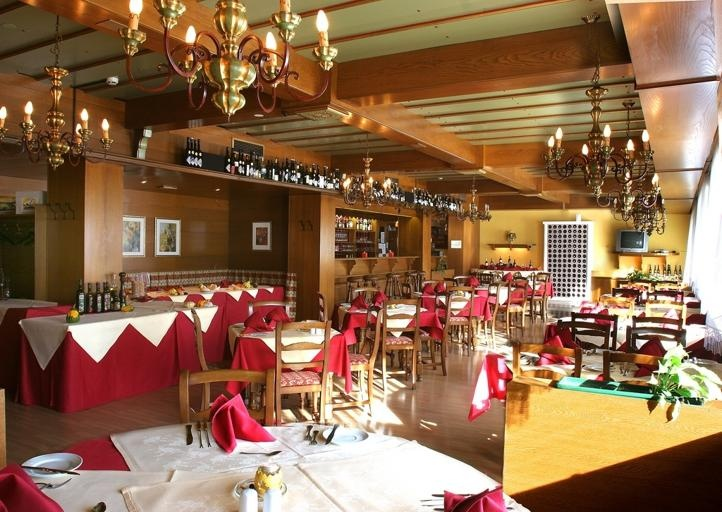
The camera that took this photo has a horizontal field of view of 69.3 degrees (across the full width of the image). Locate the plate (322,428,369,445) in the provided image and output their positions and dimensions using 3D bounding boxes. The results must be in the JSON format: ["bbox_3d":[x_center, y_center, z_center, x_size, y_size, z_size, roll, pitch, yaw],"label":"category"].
[{"bbox_3d":[-0.056,1.029,2.971,0.202,0.045,0.175,0,0,7],"label":"plate"}]

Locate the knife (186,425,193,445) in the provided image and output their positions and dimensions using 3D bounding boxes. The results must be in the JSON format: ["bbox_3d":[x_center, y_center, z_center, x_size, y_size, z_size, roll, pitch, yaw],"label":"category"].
[{"bbox_3d":[-0.969,1.017,2.966,0.029,0.007,0.197,3,5,-12],"label":"knife"}]

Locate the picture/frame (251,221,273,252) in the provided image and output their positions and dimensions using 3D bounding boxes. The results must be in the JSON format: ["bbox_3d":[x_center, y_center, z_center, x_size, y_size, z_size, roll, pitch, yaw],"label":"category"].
[{"bbox_3d":[-2.068,-0.428,11.112,0.624,0.803,0.066,-2,-4,25],"label":"picture/frame"}]

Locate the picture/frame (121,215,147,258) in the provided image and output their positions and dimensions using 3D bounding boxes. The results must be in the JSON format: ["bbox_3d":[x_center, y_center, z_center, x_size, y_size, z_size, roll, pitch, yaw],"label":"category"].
[{"bbox_3d":[-4.028,-0.351,9.292,0.060,0.818,0.779,1,-2,21],"label":"picture/frame"}]

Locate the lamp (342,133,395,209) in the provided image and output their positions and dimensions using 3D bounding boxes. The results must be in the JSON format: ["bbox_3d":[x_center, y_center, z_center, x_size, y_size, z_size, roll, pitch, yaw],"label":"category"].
[{"bbox_3d":[0.120,-1.346,8.533,0.796,1.133,0.823,2,2,44],"label":"lamp"}]

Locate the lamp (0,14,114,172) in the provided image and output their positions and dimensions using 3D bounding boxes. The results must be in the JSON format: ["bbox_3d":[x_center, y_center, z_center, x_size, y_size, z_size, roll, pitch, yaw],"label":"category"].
[{"bbox_3d":[-3.248,-1.602,5.626,0.943,1.457,2.813,0,0,-27],"label":"lamp"}]

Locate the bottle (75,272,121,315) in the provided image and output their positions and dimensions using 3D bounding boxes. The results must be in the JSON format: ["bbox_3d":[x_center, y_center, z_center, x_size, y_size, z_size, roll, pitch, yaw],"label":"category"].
[{"bbox_3d":[-3.335,0.486,6.626,0.170,0.457,0.489,-4,-3,41],"label":"bottle"}]

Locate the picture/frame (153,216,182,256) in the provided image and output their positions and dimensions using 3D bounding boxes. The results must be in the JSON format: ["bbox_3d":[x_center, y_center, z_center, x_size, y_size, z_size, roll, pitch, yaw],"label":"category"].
[{"bbox_3d":[-3.703,-0.369,10.092,0.034,0.699,0.579,1,1,32],"label":"picture/frame"}]

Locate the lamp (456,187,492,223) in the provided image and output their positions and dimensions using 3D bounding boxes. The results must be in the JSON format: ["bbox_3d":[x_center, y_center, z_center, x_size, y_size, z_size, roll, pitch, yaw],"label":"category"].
[{"bbox_3d":[3.013,-1.441,14.033,1.046,1.248,1.057,3,11,18],"label":"lamp"}]

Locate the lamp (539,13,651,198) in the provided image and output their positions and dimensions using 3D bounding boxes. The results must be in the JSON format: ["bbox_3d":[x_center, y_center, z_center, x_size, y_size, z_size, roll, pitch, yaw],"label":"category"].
[{"bbox_3d":[2.262,-1.456,4.970,0.803,1.527,0.826,0,6,-43],"label":"lamp"}]
